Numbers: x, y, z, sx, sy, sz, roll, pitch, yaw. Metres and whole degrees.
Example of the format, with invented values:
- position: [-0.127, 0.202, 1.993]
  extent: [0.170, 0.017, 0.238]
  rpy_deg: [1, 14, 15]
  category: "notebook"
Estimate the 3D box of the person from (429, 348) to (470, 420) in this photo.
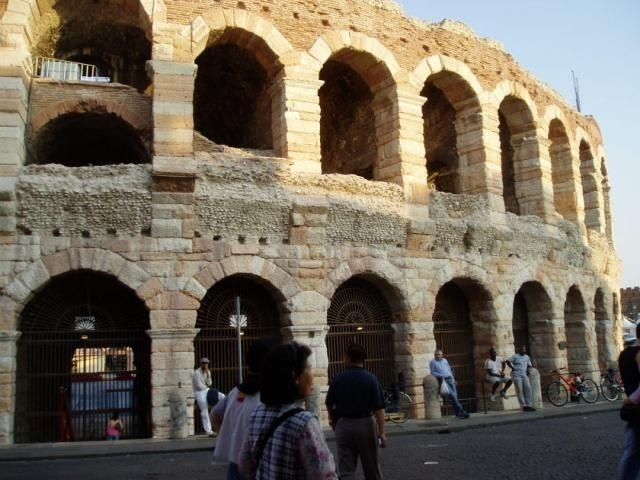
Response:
- position: [3.024, 3.396, 15.937]
  extent: [1.042, 0.955, 0.716]
  rpy_deg: [12, 8, 17]
  category: "person"

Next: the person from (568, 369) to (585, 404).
- position: [7.051, 4.116, 18.667]
  extent: [0.450, 0.668, 0.812]
  rpy_deg: [13, 8, 22]
  category: "person"

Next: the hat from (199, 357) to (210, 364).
- position: [-2.356, 2.491, 13.947]
  extent: [0.182, 0.085, 0.238]
  rpy_deg: [1, -10, -6]
  category: "hat"
